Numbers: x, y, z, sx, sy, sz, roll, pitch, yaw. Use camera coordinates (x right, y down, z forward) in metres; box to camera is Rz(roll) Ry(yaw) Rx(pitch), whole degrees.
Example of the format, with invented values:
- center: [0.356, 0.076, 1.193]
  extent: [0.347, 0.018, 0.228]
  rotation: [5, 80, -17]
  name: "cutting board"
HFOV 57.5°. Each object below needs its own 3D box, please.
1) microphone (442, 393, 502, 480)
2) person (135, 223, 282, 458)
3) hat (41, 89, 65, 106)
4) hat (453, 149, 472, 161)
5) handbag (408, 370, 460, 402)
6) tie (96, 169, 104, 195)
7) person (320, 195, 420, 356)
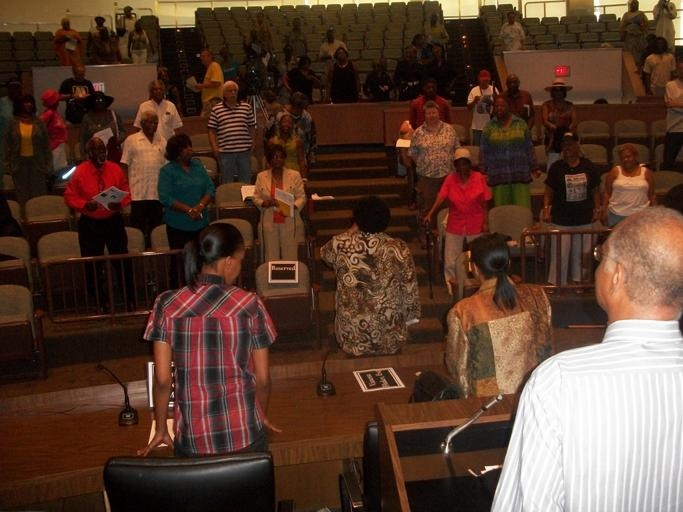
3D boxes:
- center: [0.607, 0.850, 2.894]
  extent: [0.441, 0.165, 0.120]
  rotation: [-40, 26, -2]
  name: "microphone"
- center: [-0.668, 0.419, 3.122]
  extent: [0.652, 1.151, 0.307]
  rotation: [-5, 9, -14]
  name: "person"
- center: [-4.015, -2.195, 8.628]
  extent: [0.165, 0.219, 0.282]
  rotation: [-4, 9, -11]
  name: "hat"
- center: [1.373, -1.124, 7.077]
  extent: [0.147, 0.121, 0.223]
  rotation: [0, 26, 6]
  name: "hat"
- center: [0.549, 0.786, 3.703]
  extent: [0.192, 0.224, 0.222]
  rotation: [-4, 14, -28]
  name: "handbag"
- center: [-2.433, -0.760, 6.302]
  extent: [0.069, 0.219, 0.114]
  rotation: [-6, 10, -21]
  name: "tie"
- center: [0.265, 0.209, 5.608]
  extent: [0.842, 1.501, 0.475]
  rotation: [-2, 9, 4]
  name: "person"
